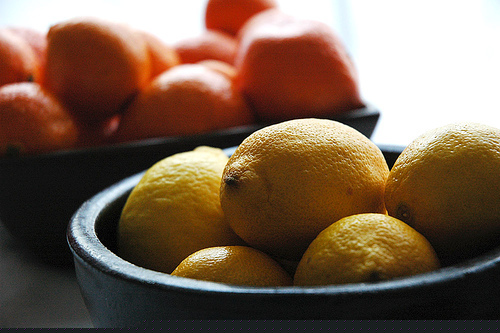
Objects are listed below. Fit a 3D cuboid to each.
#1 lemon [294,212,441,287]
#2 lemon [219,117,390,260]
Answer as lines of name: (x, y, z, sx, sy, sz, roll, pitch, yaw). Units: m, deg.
lemon: (0.116, 0.046, 0.482, 0.101, 0.083, 0.079, -16, 16, -25)
lemon: (0.062, 0.020, 0.597, 0.168, 0.138, 0.133, -10, 18, -22)
